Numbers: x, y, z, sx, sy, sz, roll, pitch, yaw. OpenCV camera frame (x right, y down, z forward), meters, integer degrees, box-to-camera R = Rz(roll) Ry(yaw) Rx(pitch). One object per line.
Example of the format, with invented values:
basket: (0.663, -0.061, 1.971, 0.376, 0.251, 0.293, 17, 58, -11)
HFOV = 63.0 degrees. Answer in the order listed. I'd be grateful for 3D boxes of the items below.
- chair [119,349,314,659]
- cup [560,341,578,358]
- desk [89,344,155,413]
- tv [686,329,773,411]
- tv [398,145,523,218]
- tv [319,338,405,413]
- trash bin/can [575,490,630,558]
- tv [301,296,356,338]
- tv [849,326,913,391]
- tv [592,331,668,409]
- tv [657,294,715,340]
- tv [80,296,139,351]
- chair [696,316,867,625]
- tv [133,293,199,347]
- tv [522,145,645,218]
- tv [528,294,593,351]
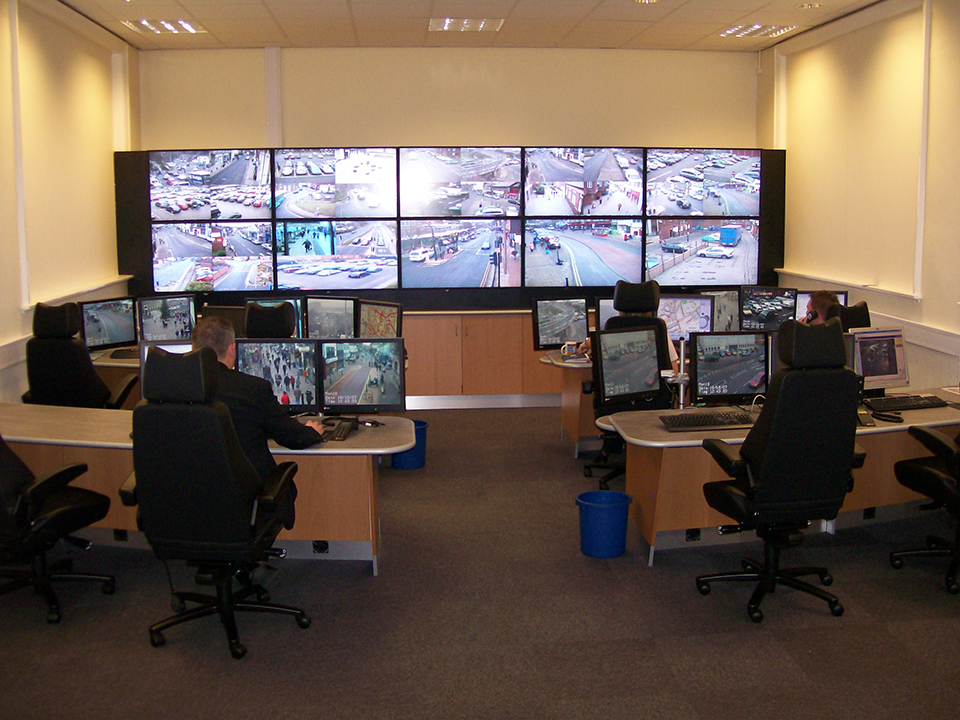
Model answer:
chair: (-1.475, 0.762, 4.306, 0.926, 1.743, 0.535, -5, 16, -13)
cup: (0.860, -0.101, 7.607, 0.206, 0.160, 0.131, 1, -1, -7)
desk: (-2.916, 0.155, 6.323, 0.735, 0.576, 0.463, -1, 4, -9)
tv: (1.786, 0.079, 5.615, 0.678, 0.482, 0.085, -2, 5, -7)
tv: (-0.236, -2.112, 9.323, 1.725, 0.848, 0.024, 8, 19, 29)
tv: (-0.830, 0.114, 5.349, 0.069, 0.519, 0.705, 0, 0, 43)
trash bin/can: (0.826, 1.138, 5.564, 0.517, 0.340, 0.439, 0, 2, 0)
tv: (-1.372, -0.389, 7.106, 0.475, 0.292, 0.033, 2, 9, 16)
tv: (2.919, -0.015, 5.940, 0.632, 0.518, 0.208, -2, 4, -27)
tv: (1.202, 0.040, 6.214, 0.702, 0.611, 0.092, -9, -8, 43)
tv: (1.852, -0.398, 7.123, 0.556, 0.385, 0.166, 0, 4, 1)
tv: (-3.573, -0.346, 7.504, 0.063, 0.482, 0.567, 4, 12, 28)
chair: (1.789, 0.646, 4.616, 0.921, 1.773, 0.541, 1, 16, 7)
tv: (-3.042, -0.389, 7.765, 0.603, 0.454, 0.201, -3, 2, 9)
tv: (1.203, -2.133, 9.439, 1.629, 0.816, 0.024, 10, 22, 34)
tv: (0.816, -0.358, 7.796, 0.674, 0.530, 0.066, 0, 0, 40)
